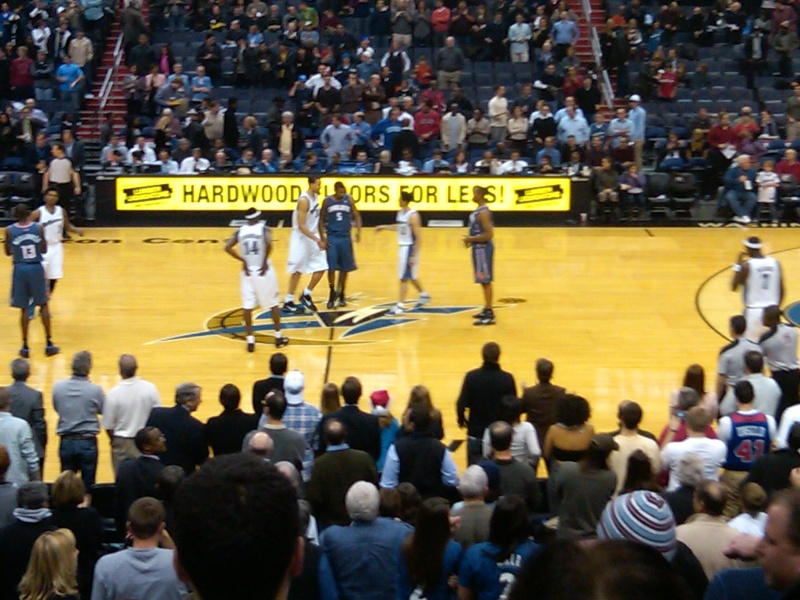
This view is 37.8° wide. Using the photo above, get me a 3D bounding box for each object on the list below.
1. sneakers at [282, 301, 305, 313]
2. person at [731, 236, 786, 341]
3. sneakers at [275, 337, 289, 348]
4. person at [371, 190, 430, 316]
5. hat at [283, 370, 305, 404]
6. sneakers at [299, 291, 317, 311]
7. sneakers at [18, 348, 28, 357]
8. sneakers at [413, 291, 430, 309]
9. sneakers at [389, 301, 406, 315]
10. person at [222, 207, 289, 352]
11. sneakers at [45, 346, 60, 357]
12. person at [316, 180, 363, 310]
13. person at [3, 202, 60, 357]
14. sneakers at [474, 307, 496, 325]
[{"bbox_3d":[-1.425,0.083,15.411,0.254,0.087,0.141,2,17,17],"label":"sneakers"},{"bbox_3d":[3.927,0.123,12.801,0.619,1.602,0.539,-1,13,10],"label":"person"},{"bbox_3d":[-1.428,0.482,14.150,0.078,0.141,0.205,11,29,28],"label":"sneakers"},{"bbox_3d":[0.080,-0.646,15.576,0.581,1.286,1.828,-2,1,2],"label":"person"},{"bbox_3d":[-0.920,0.740,10.061,0.171,0.269,0.114,0,-6,-5],"label":"hat"},{"bbox_3d":[-1.218,0.001,15.427,0.307,0.134,0.155,37,18,2],"label":"sneakers"},{"bbox_3d":[-4.400,0.601,13.620,0.087,0.124,0.132,2,6,-28],"label":"sneakers"},{"bbox_3d":[0.313,-0.014,15.631,0.118,0.136,0.320,-28,4,39],"label":"sneakers"},{"bbox_3d":[-0.040,0.093,15.230,0.204,0.119,0.114,2,7,-5],"label":"sneakers"},{"bbox_3d":[-1.727,-0.244,13.964,0.687,1.445,0.941,-2,1,-5],"label":"person"},{"bbox_3d":[-4.135,0.597,13.851,0.131,0.115,0.122,0,-6,-2],"label":"sneakers"},{"bbox_3d":[-0.797,-0.711,15.266,0.534,1.357,0.769,-2,1,-2],"label":"person"},{"bbox_3d":[-4.326,-0.230,13.628,0.527,1.683,0.858,-2,1,-10],"label":"person"},{"bbox_3d":[1.087,0.208,14.875,0.237,0.130,0.290,3,6,-1],"label":"sneakers"}]
